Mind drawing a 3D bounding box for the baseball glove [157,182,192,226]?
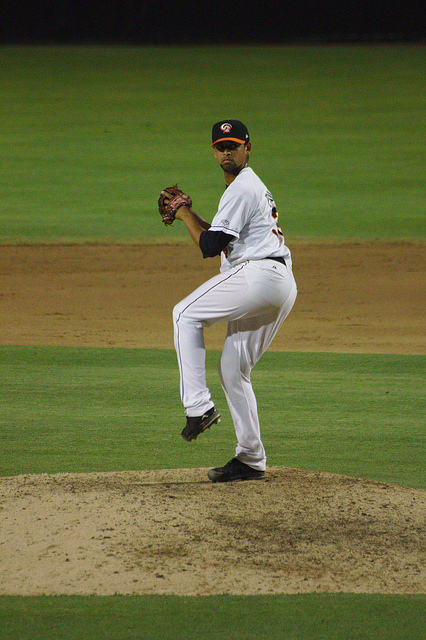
[{"bbox_3d":[-0.268,-0.835,10.200,0.215,0.286,0.121,1,-4,32],"label":"baseball glove"}]
